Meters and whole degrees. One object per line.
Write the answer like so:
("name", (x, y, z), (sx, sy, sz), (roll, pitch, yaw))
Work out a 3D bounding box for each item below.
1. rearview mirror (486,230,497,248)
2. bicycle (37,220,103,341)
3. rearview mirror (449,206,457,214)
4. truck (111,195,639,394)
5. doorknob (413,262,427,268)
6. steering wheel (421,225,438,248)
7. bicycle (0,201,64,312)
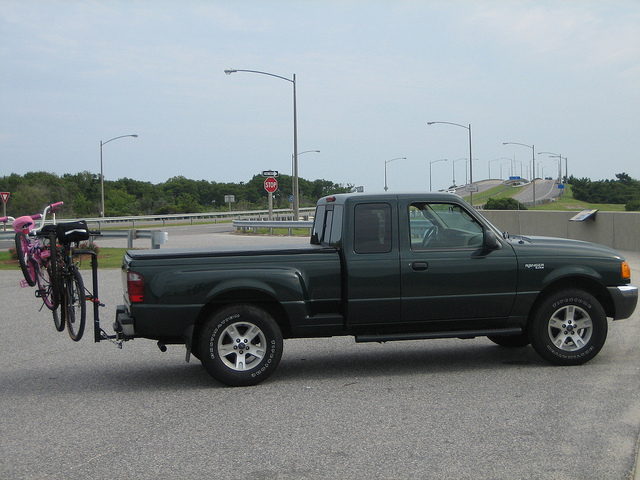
("rearview mirror", (2.226, -0.023, 8.475), (0.099, 0.224, 0.271), (2, 5, 26))
("bicycle", (-3.194, 0.460, 8.881), (0.838, 1.180, 1.759), (0, -1, -24))
("rearview mirror", (1.746, -0.401, 8.582), (0.091, 0.085, 0.080), (1, 5, 19))
("truck", (0.582, 0.566, 9.282), (6.474, 2.398, 2.838), (-3, 4, -9))
("doorknob", (1.275, 0.313, 8.314), (0.180, 0.064, 0.030), (-2, 5, -12))
("steering wheel", (1.441, -0.054, 8.586), (0.109, 0.270, 0.382), (2, 5, 27))
("bicycle", (-3.759, 0.235, 9.081), (0.948, 1.060, 1.674), (-9, -9, -12))
